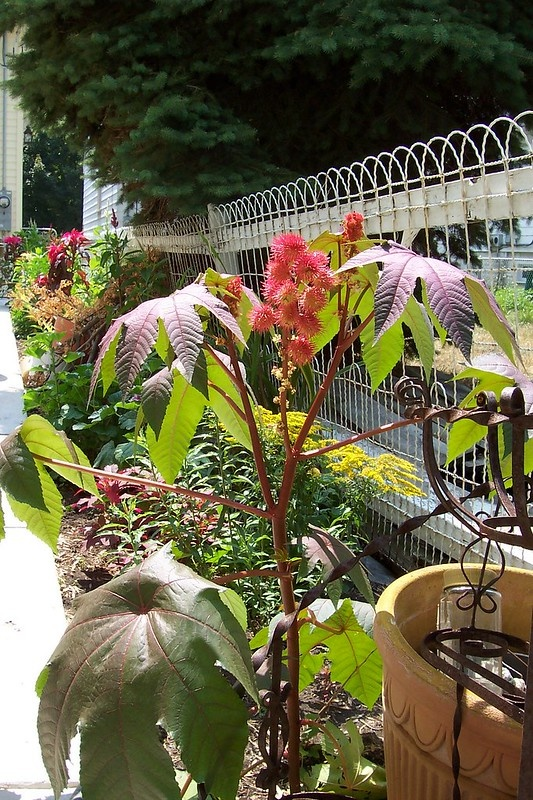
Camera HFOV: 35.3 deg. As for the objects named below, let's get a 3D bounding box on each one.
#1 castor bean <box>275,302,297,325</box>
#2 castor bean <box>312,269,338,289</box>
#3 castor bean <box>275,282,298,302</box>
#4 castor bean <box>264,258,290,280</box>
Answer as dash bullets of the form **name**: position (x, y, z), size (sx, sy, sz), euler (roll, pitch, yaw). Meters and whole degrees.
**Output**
- **castor bean**: position (0.029, -0.112, 1.103), size (0.028, 0.035, 0.021), euler (-2, 15, 15)
- **castor bean**: position (0.079, -0.157, 1.101), size (0.026, 0.023, 0.021), euler (-12, -2, -10)
- **castor bean**: position (0.026, -0.142, 1.104), size (0.029, 0.028, 0.021), euler (-5, 14, -1)
- **castor bean**: position (0.012, -0.182, 1.146), size (0.032, 0.028, 0.019), euler (-5, 22, 5)
